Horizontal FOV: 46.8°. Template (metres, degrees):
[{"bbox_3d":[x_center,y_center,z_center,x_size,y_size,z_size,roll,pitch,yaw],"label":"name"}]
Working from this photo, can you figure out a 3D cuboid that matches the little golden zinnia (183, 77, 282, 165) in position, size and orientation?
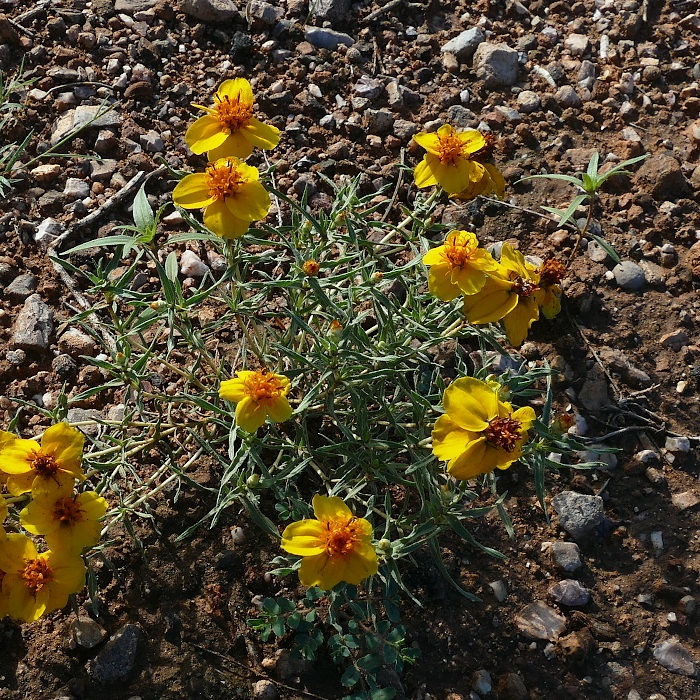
[{"bbox_3d":[-0.407,-0.937,3.198,0.475,0.139,0.448,16,42,6],"label":"little golden zinnia"}]

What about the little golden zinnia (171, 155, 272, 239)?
[{"bbox_3d":[-0.478,-0.575,3.051,0.380,0.167,0.316,20,78,0],"label":"little golden zinnia"}]

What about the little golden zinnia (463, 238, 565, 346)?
[{"bbox_3d":[0.660,-0.253,3.199,0.101,0.303,0.292,12,60,35],"label":"little golden zinnia"}]

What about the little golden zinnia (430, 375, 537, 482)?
[{"bbox_3d":[0.505,0.297,2.948,0.192,0.381,0.398,-22,25,39],"label":"little golden zinnia"}]

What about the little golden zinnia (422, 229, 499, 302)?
[{"bbox_3d":[0.441,-0.373,3.172,0.282,0.105,0.260,-26,34,-22],"label":"little golden zinnia"}]
